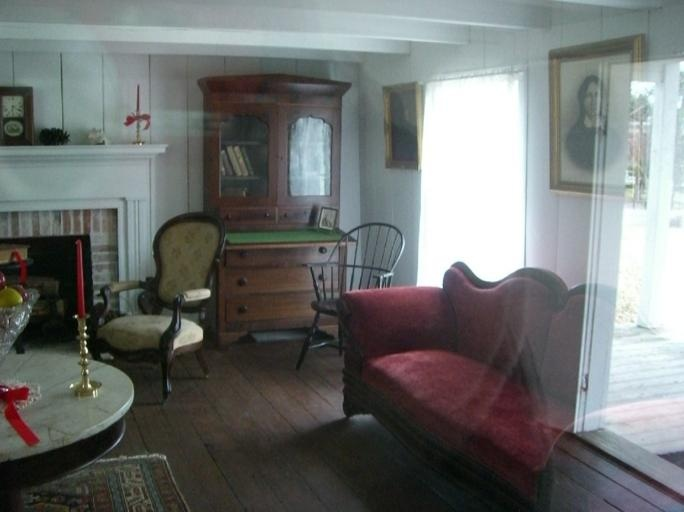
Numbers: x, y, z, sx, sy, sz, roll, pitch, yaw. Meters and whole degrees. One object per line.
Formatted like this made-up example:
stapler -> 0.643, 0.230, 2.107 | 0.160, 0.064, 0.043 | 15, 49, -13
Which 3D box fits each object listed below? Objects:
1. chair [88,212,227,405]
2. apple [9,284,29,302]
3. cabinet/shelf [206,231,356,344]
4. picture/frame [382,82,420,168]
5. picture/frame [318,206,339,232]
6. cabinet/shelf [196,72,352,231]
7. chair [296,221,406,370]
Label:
chair -> -0.975, 0.203, 2.881 | 0.556, 0.904, 0.641 | 4, 3, 5
apple -> -0.970, 0.114, 1.645 | 0.040, 0.031, 0.048 | -2, 0, -3
cabinet/shelf -> -0.368, 0.162, 3.191 | 0.582, 0.569, 0.257 | -2, 6, -19
picture/frame -> 0.279, -0.585, 2.485 | 0.029, 0.400, 0.329 | -10, 17, -21
picture/frame -> -0.092, -0.234, 3.507 | 0.126, 0.140, 0.135 | 0, -8, 16
cabinet/shelf -> -0.413, -0.645, 3.417 | 0.885, 0.981, 0.324 | -2, 22, -14
chair -> 0.028, 0.254, 2.999 | 0.534, 0.833, 0.566 | 1, 9, -20
